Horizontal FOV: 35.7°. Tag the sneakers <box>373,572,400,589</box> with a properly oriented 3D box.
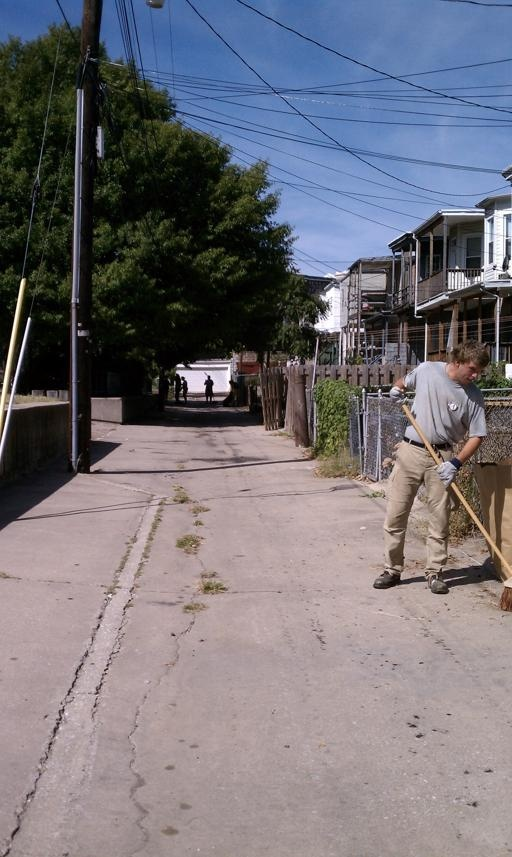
[{"bbox_3d":[0.914,1.064,5.615,0.083,0.103,0.234,1,-7,42],"label":"sneakers"}]

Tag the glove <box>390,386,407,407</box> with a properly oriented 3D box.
[{"bbox_3d":[1.059,-0.260,5.953,0.064,0.117,0.155,-10,9,-2],"label":"glove"}]

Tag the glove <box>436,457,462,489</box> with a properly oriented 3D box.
[{"bbox_3d":[1.276,0.284,5.289,0.076,0.188,0.137,20,13,16],"label":"glove"}]

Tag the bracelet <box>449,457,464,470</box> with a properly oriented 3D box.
[{"bbox_3d":[1.337,0.233,5.322,0.059,0.077,0.079,-38,-26,-3],"label":"bracelet"}]

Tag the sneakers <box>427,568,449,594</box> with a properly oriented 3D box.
[{"bbox_3d":[1.228,1.039,5.405,0.108,0.135,0.208,0,3,-4],"label":"sneakers"}]
